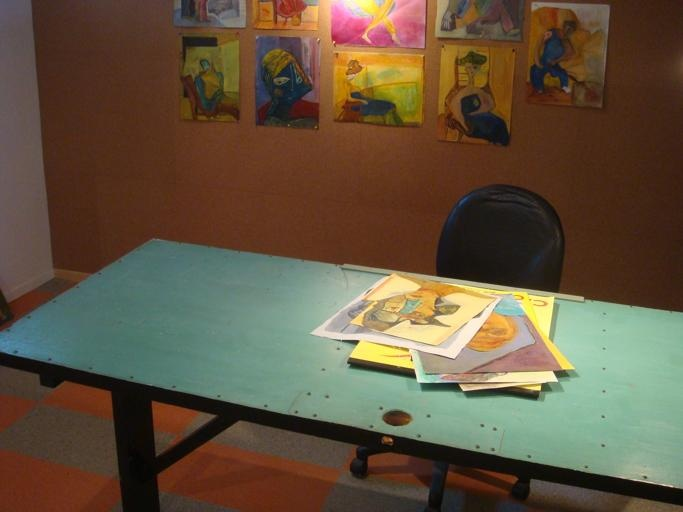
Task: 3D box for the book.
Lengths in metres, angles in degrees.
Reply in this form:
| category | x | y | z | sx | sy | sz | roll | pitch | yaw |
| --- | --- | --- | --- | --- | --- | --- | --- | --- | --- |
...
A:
| category | x | y | z | sx | sy | sz | roll | pitch | yaw |
| --- | --- | --- | --- | --- | --- | --- | --- | --- | --- |
| book | 0.373 | 0.217 | 1.752 | 0.552 | 0.194 | 0.569 | 11 | 10 | 16 |
